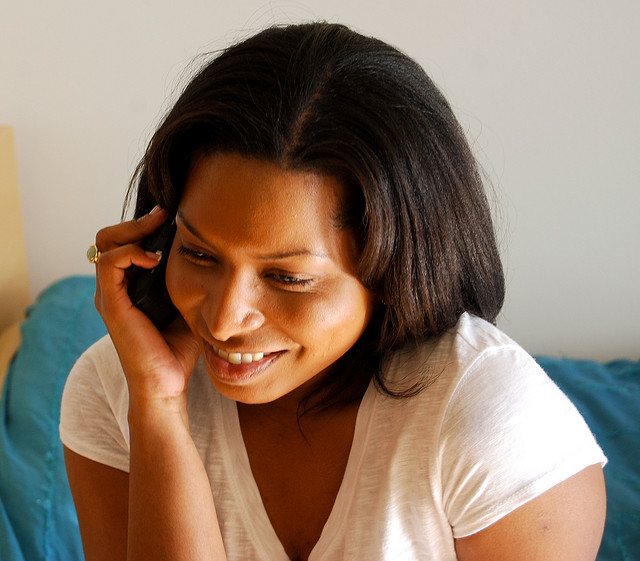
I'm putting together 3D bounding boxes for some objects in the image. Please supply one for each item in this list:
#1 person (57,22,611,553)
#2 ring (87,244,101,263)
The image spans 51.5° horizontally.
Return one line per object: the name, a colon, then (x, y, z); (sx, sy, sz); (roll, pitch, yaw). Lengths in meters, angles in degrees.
person: (0.025, 0.038, 1.210); (0.980, 0.974, 0.303); (5, 11, 6)
ring: (-0.470, -0.055, 1.392); (0.028, 0.040, 0.016); (-9, -13, 20)
